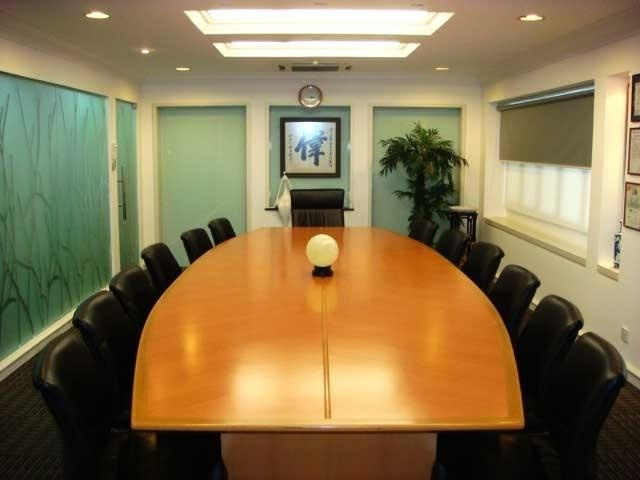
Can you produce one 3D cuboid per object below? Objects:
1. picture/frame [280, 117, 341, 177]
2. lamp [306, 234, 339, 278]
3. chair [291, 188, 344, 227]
[{"bbox_3d":[-0.179,-1.483,7.215,0.785,0.846,0.088,-1,9,0],"label":"picture/frame"},{"bbox_3d":[-0.007,0.113,3.370,0.243,0.339,0.260,0,4,0],"label":"lamp"},{"bbox_3d":[-0.018,-0.384,6.086,0.461,0.746,0.536,0,2,1],"label":"chair"}]
